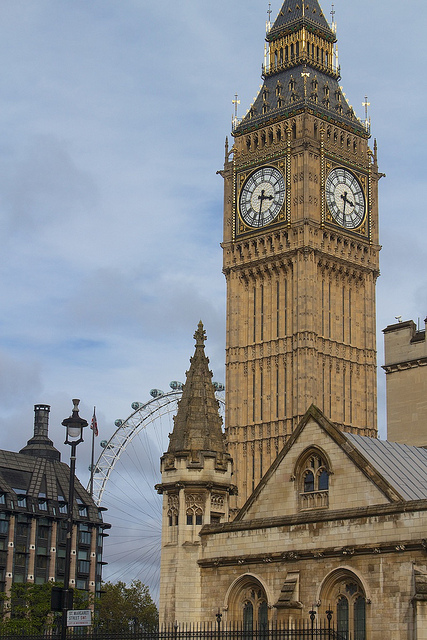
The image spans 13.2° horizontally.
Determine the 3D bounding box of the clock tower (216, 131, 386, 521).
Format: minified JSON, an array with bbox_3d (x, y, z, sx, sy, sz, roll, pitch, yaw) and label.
[{"bbox_3d":[6.385,-1.137,135.810,11.132,30.432,7.742,0,-16,1],"label":"clock tower"}]
